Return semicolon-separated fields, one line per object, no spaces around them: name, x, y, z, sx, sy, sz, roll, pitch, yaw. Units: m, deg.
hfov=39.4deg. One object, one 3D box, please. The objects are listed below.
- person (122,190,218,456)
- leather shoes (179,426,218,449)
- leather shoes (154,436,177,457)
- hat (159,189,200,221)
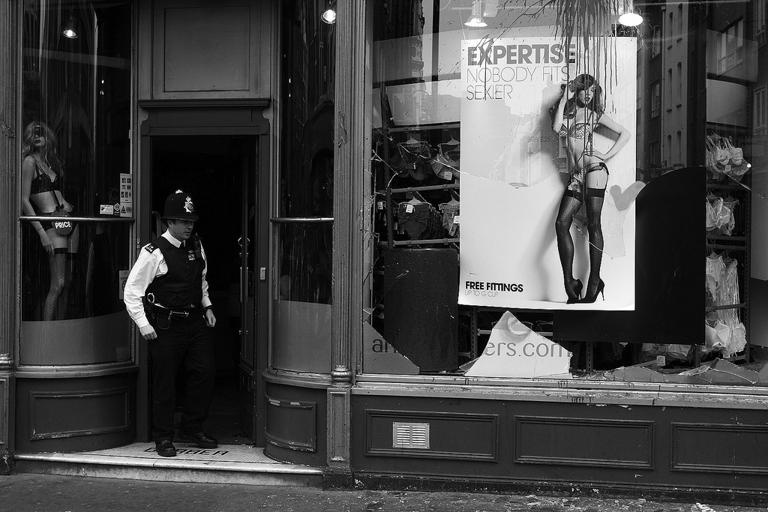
person;-1.980;0.615;9.868;0.384;2.415;0.797;1;2;45
leather shoes;-1.772;1.708;10.149;0.442;0.173;0.161;14;8;15
leather shoes;-2.041;1.750;9.877;0.253;0.161;0.211;0;2;8
hat;-1.941;-0.490;9.933;0.364;0.235;0.293;8;8;33
